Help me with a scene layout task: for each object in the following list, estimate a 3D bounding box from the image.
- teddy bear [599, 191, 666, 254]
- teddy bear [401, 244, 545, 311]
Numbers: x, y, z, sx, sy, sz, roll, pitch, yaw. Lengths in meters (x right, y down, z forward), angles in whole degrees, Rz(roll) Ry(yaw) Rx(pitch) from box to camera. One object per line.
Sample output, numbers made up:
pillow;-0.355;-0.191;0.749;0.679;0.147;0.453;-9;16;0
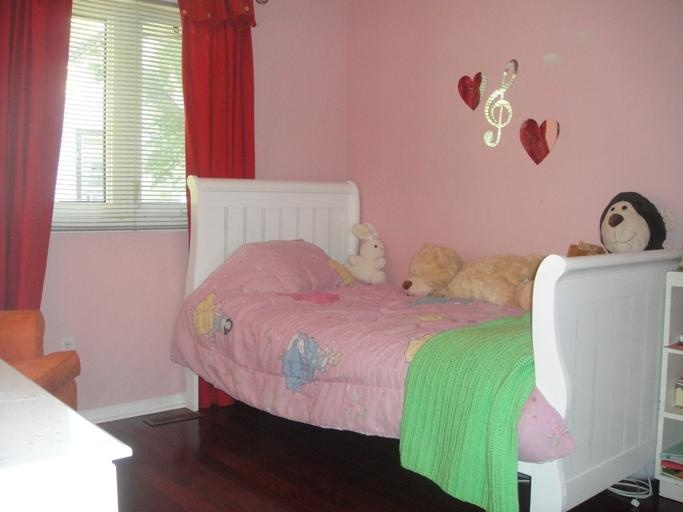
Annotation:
teddy bear;1.410;-0.154;2.653;0.274;0.347;0.292;-7;3;-18
teddy bear;0.753;0.116;3.104;0.551;0.199;0.359;-4;32;44
